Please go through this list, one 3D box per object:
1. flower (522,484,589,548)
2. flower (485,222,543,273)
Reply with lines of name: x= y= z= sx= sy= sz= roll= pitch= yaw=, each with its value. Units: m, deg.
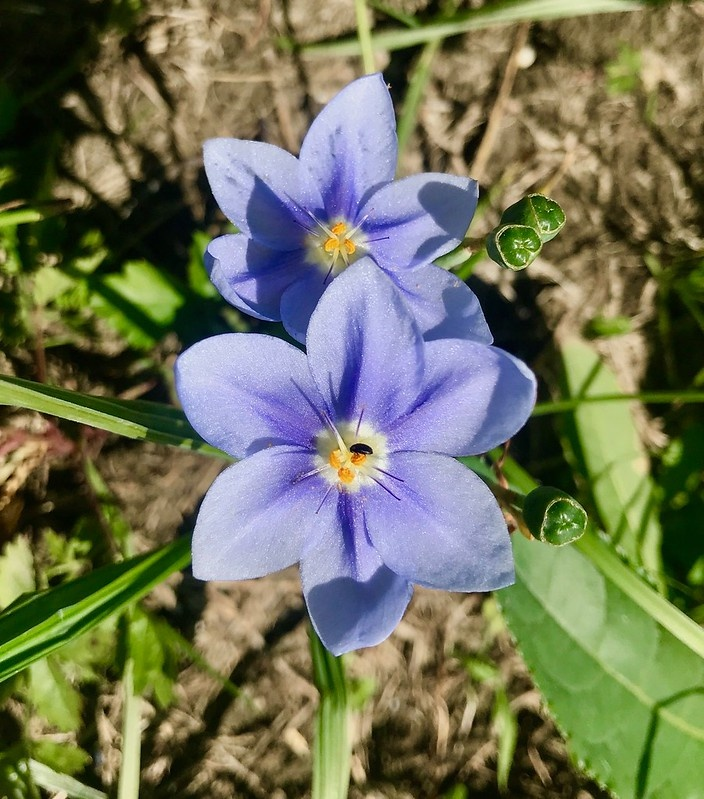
flower: x=0.393 y=0.233 z=1.709 sx=0.118 sy=0.106 sz=0.101 roll=29 pitch=85 yaw=4
flower: x=0.316 y=-0.298 z=1.736 sx=0.092 sy=0.096 sz=0.099 roll=34 pitch=104 yaw=-9
